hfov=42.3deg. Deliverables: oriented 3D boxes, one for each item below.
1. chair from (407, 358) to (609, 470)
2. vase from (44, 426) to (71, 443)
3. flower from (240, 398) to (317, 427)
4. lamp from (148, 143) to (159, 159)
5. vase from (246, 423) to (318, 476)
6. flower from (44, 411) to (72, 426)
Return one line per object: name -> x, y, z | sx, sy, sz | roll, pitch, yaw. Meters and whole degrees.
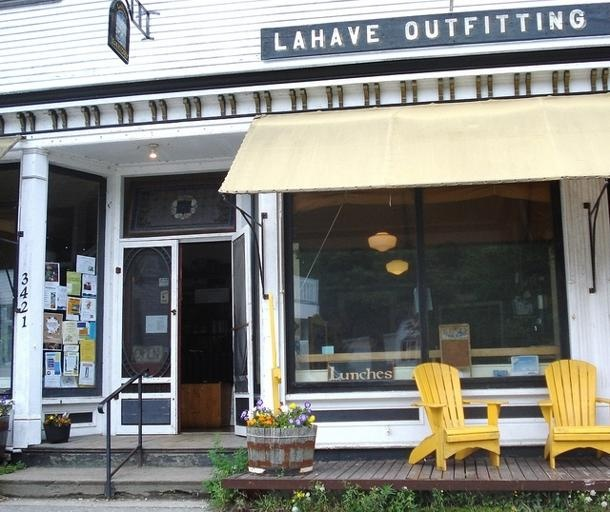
chair -> 2.246, 1.720, 8.667 | 2.136, 1.131, 1.035 | -2, -8, 4
vase -> -3.229, 2.297, 10.279 | 0.234, 0.190, 0.271 | 0, -11, -3
flower -> -0.253, 1.732, 8.744 | 0.761, 0.292, 0.793 | -2, -8, 6
lamp -> -2.059, -1.436, 10.740 | 0.155, 0.172, 0.147 | 0, -12, 2
vase -> -0.270, 2.115, 8.686 | 0.792, 0.502, 0.810 | 1, -8, -10
flower -> -3.230, 2.143, 10.350 | 0.213, 0.133, 0.224 | 0, -3, 5
